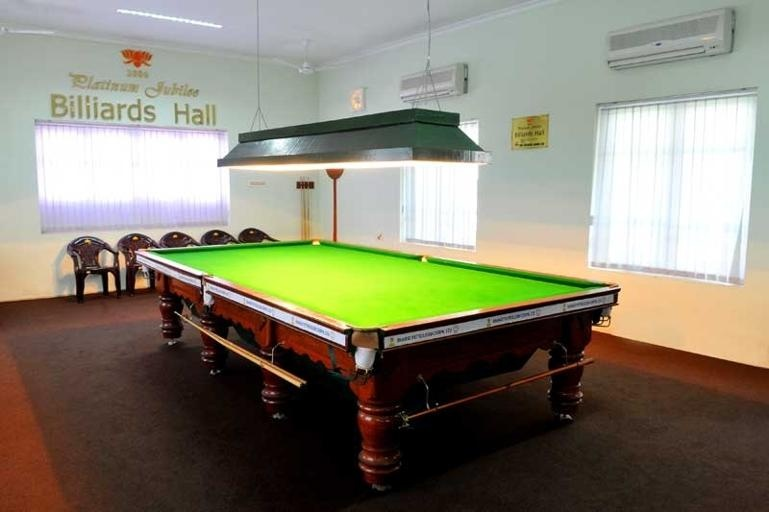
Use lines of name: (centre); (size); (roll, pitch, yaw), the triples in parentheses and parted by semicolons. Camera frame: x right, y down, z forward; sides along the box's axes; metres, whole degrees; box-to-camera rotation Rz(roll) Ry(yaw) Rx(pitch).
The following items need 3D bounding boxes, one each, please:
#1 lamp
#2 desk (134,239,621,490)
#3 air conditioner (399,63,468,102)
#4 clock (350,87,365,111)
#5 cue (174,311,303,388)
lamp: (-0.280, -1.147, 5.410); (1.847, 0.251, 0.658); (2, 5, 40)
desk: (-0.096, 0.796, 5.012); (3.549, 1.364, 2.143); (10, 16, 37)
air conditioner: (0.682, -2.486, 7.927); (0.302, 0.428, 1.078); (-5, 9, -41)
clock: (-0.450, -2.620, 9.169); (0.343, 0.361, 0.093); (13, 19, 43)
cue: (-1.343, 0.895, 5.095); (2.044, 0.115, 0.084); (25, 29, 27)
